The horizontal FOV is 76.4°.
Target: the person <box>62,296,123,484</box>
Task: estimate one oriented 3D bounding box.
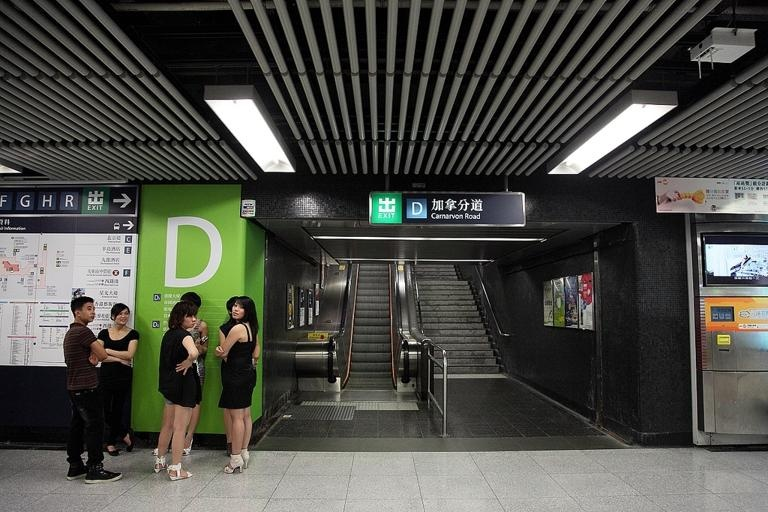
[{"bbox_3d":[-3.350,1.492,5.544,0.525,2.040,0.475,0,-1,41],"label":"person"}]

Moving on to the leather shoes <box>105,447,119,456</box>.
[{"bbox_3d":[-3.435,2.449,6.168,0.078,0.052,0.209,8,-8,-42],"label":"leather shoes"}]

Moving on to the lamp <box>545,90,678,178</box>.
[{"bbox_3d":[2.350,-1.266,5.152,0.462,0.497,1.444,1,-1,-9],"label":"lamp"}]

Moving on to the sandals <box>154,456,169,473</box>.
[{"bbox_3d":[-2.676,2.418,5.764,0.114,0.138,0.313,1,-2,-3],"label":"sandals"}]

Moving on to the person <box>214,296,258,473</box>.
[{"bbox_3d":[-1.758,1.506,5.794,0.459,2.014,0.316,1,-1,-13],"label":"person"}]

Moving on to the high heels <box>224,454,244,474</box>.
[{"bbox_3d":[-1.728,2.417,5.749,0.279,0.195,0.176,1,-6,6],"label":"high heels"}]

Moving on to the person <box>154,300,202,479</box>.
[{"bbox_3d":[-2.375,1.524,5.657,0.613,1.977,0.332,0,-1,25],"label":"person"}]

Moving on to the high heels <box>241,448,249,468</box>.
[{"bbox_3d":[-1.666,2.400,5.843,0.074,0.203,0.103,-1,-44,-26],"label":"high heels"}]
